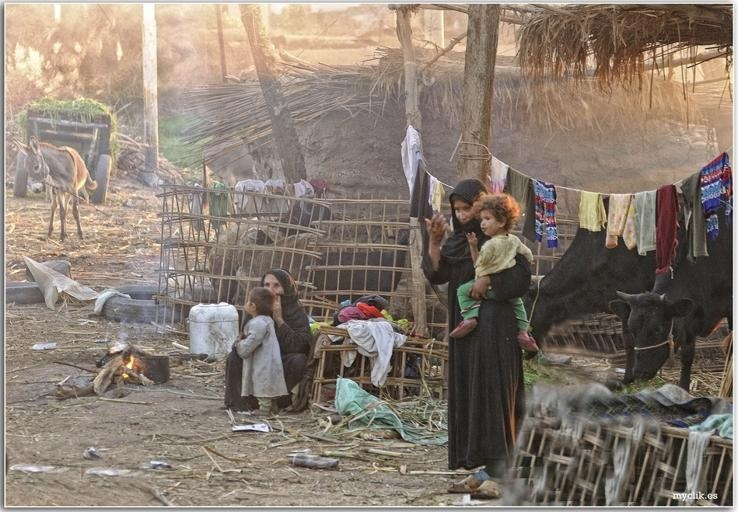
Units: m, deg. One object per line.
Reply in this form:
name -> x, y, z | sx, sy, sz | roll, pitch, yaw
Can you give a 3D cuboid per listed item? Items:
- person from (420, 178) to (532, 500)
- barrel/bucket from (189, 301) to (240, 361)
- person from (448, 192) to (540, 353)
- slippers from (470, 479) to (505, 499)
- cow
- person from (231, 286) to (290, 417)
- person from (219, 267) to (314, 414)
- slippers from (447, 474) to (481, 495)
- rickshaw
person -> 1.296, 0.959, 11.818 | 1.358, 3.727, 1.170 | 1, 0, -8
barrel/bucket -> -2.543, 1.129, 15.755 | 0.842, 0.965, 0.853 | 6, 15, -2
person -> 1.500, 0.085, 11.597 | 0.963, 1.905, 0.912 | 6, 18, 20
slippers -> 1.373, 2.696, 11.161 | 0.455, 0.173, 0.147 | -1, -21, -1
cow -> 3.689, 0.547, 13.686 | 4.203, 2.073, 2.079 | -7, 14, -25
person -> -1.510, 1.287, 13.287 | 0.769, 1.642, 0.693 | -1, 4, -20
person -> -1.358, 1.142, 13.533 | 1.292, 1.904, 1.208 | -4, -10, 45
slippers -> 1.132, 2.667, 11.304 | 0.471, 0.158, 0.164 | -18, -11, 6
rickshaw -> -7.083, -2.572, 22.632 | 1.901, 1.849, 2.535 | 1, 2, -10
